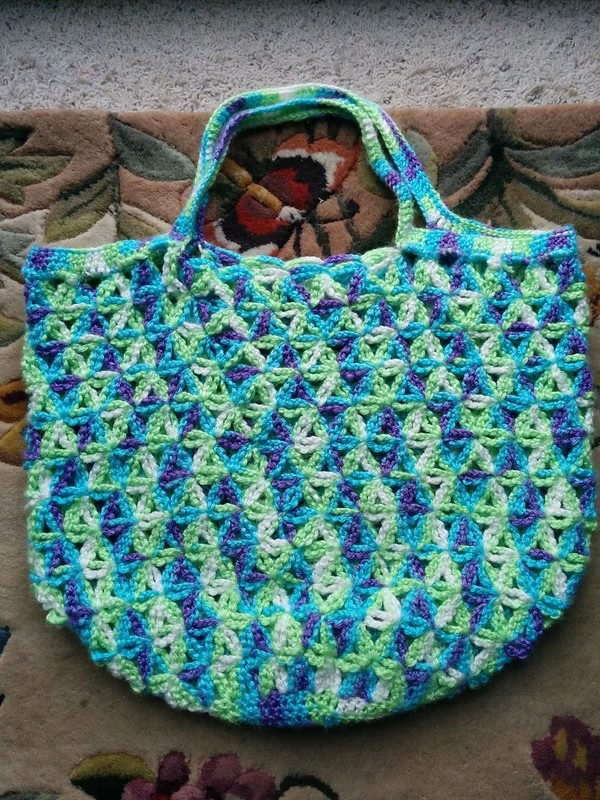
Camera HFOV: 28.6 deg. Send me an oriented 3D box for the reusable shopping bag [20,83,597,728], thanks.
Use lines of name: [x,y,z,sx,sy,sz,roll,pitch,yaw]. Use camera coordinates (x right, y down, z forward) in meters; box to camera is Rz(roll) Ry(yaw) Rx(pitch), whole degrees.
reusable shopping bag: [0.022,0.039,1.405,0.867,0.130,0.853,-2,84,4]
